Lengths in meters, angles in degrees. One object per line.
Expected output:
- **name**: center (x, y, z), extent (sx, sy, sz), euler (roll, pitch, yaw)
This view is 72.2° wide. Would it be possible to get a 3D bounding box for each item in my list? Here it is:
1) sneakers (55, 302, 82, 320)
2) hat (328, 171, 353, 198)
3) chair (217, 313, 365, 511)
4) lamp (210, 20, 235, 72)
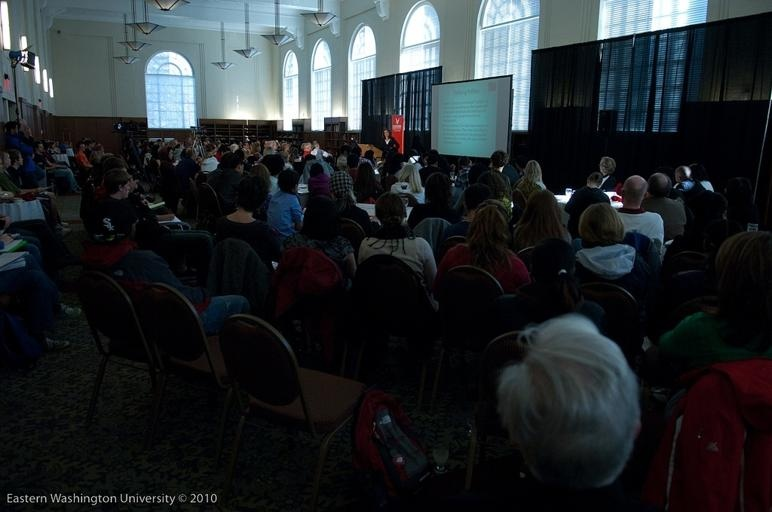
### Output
- **sneakers**: center (-3.027, 0.529, 5.124), extent (0.294, 0.145, 0.128), euler (5, 10, 11)
- **hat**: center (-0.448, -0.732, 5.329), extent (0.177, 0.269, 0.254), euler (0, 12, 3)
- **chair**: center (-0.572, 0.939, 3.055), extent (0.543, 1.095, 0.723), euler (15, 30, 22)
- **lamp**: center (-7.126, -9.222, 22.958), extent (0.893, 1.995, 3.211), euler (-5, 18, -16)
